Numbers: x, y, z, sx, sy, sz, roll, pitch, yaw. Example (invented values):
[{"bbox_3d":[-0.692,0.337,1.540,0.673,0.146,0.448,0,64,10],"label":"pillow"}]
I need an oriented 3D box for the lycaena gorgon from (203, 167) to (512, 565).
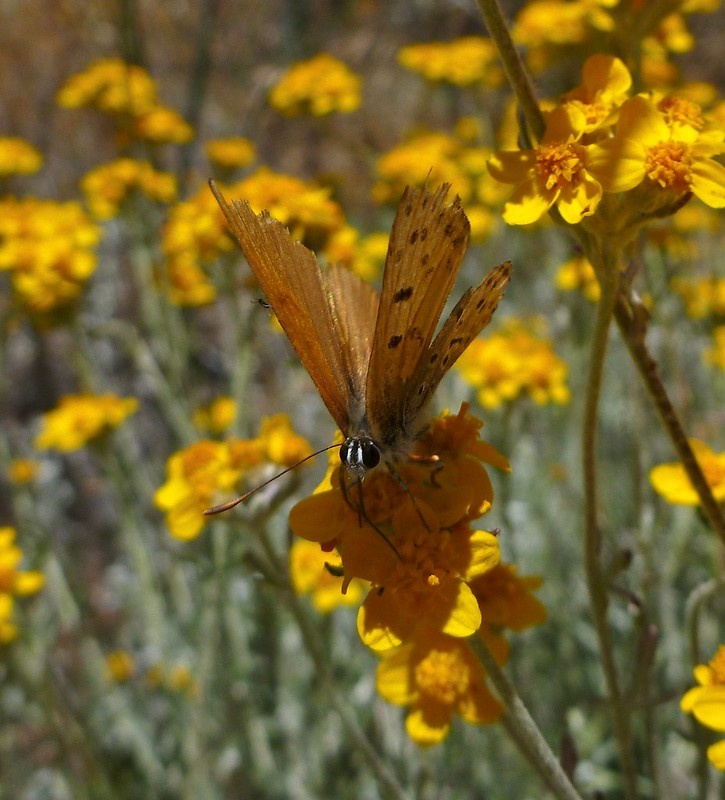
[{"bbox_3d":[0.008,-0.046,1.489,0.443,0.385,0.402,-10,90,32],"label":"lycaena gorgon"}]
